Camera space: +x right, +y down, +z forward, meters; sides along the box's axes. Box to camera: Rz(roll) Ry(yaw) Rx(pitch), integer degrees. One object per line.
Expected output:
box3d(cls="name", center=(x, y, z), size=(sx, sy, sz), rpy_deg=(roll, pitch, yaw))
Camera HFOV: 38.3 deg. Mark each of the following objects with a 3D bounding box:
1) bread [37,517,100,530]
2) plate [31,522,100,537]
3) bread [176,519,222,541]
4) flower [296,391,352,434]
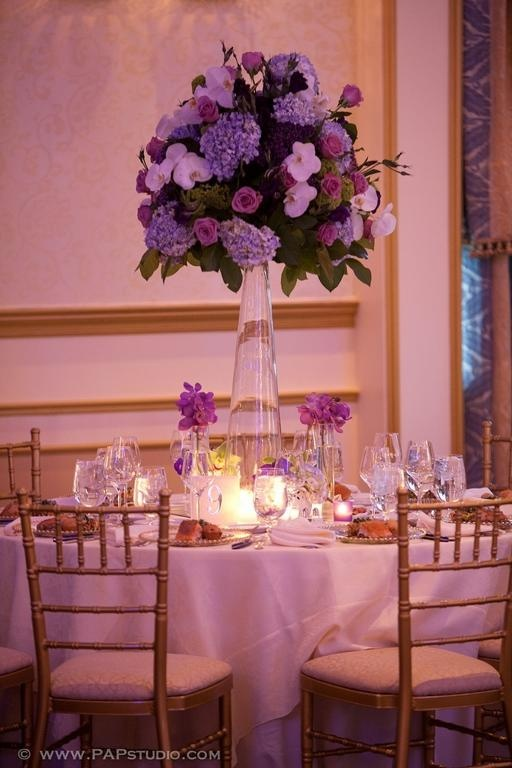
box3d(cls="bread", center=(-0.441, 0.331, 1.743), size=(0.129, 0.034, 0.104), rpy_deg=(-1, -1, -8))
box3d(cls="plate", center=(-0.440, 0.342, 1.728), size=(0.120, 0.033, 0.098), rpy_deg=(1, -3, -10))
box3d(cls="bread", center=(-0.132, 0.338, 1.683), size=(0.058, 0.021, 0.059), rpy_deg=(0, -1, 36))
box3d(cls="flower", center=(0.206, 0.068, 2.174), size=(0.120, 0.086, 0.122), rpy_deg=(25, -23, 3))
